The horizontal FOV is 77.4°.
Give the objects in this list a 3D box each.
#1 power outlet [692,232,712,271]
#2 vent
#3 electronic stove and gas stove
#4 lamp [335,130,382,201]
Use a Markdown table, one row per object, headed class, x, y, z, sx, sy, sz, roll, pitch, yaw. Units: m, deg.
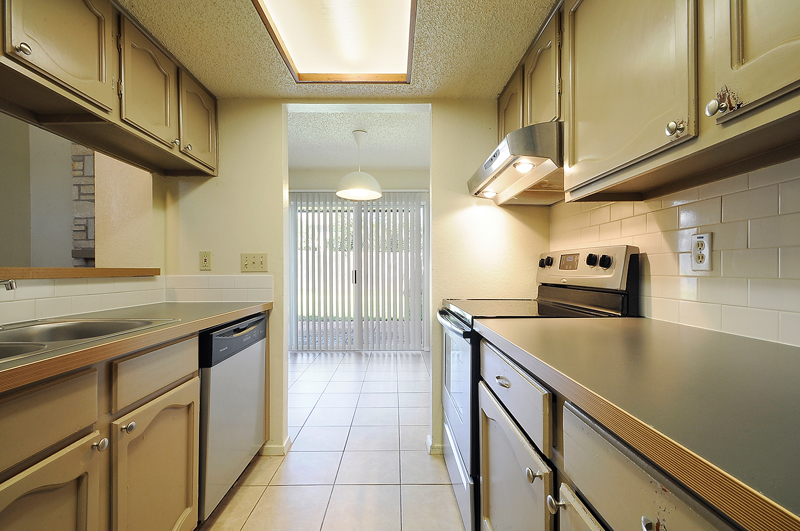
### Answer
| class | x | y | z | sx | sy | sz | roll | pitch | yaw |
| --- | --- | --- | --- | --- | --- | --- | --- | --- | --- |
| power outlet | 1.277 | -0.055 | 2.105 | 0.020 | 0.165 | 0.088 | -6 | 8 | -25 |
| vent | 0.672 | -0.577 | 2.590 | 0.341 | 0.125 | 0.531 | 2 | -7 | -7 |
| electronic stove and gas stove | 0.675 | 0.176 | 2.718 | 0.771 | 0.174 | 0.843 | -3 | 7 | -3 |
| lamp | -0.353 | -0.878 | 4.307 | 0.537 | 0.563 | 0.553 | 1 | 0 | 6 |
